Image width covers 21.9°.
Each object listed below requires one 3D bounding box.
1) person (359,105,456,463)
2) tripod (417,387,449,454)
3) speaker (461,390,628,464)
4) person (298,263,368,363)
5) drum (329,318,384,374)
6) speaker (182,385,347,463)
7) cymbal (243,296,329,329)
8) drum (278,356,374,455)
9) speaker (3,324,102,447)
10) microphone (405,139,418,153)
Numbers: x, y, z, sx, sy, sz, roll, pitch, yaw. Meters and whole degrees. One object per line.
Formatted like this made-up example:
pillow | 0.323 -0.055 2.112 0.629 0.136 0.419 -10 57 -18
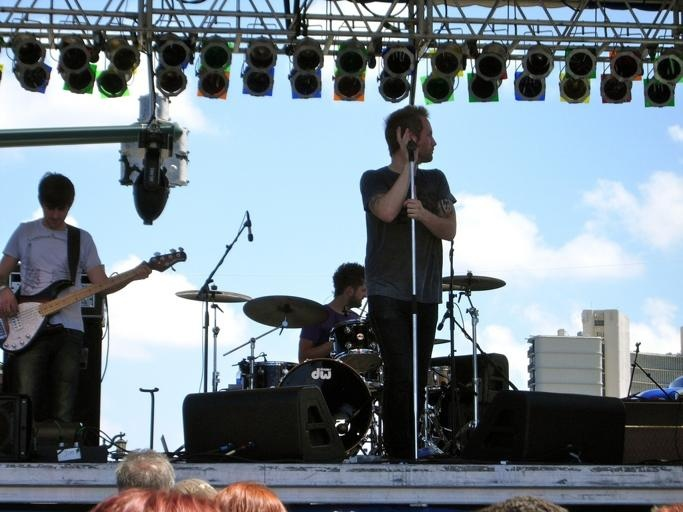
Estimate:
person | 0.447 0.256 12.265 0.619 2.477 0.718 1 1 25
tripod | 0.717 1.358 14.474 0.308 0.596 0.315 1 -2 -11
speaker | 1.320 1.151 11.986 0.887 0.511 0.977 1 -6 -14
person | -0.009 0.443 14.561 0.461 0.902 0.436 3 -2 -33
drum | 0.116 0.720 13.971 0.400 0.306 0.409 -5 -15 -1
speaker | -0.469 1.141 12.178 1.159 0.642 1.068 4 -6 -43
cymbal | -0.448 0.478 14.494 0.856 0.247 0.521 -9 -13 42
drum | -0.042 1.144 13.500 0.571 0.794 0.666 4 -7 -30
speaker | -2.114 0.875 12.970 0.602 0.968 1.127 0 -9 1
microphone | 0.498 -0.751 12.181 0.069 0.126 0.104 0 -9 2
